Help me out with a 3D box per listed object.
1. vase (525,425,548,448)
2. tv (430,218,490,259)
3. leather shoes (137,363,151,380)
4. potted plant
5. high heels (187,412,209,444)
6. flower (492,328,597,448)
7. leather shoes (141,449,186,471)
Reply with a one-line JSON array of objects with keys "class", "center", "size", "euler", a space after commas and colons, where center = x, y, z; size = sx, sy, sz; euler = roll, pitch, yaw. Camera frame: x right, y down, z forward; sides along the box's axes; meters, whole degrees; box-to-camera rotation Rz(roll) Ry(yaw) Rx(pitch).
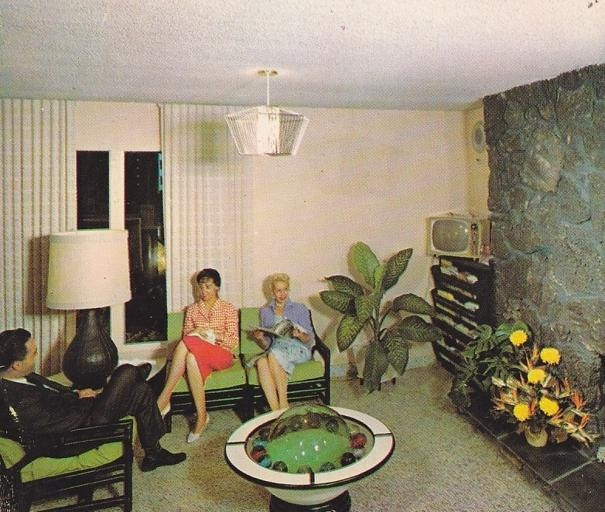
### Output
[{"class": "vase", "center": [1.531, 1.179, 3.566], "size": [0.143, 0.114, 0.102], "euler": [4, 13, 24]}, {"class": "tv", "center": [1.352, -0.169, 4.727], "size": [0.255, 0.360, 0.680], "euler": [-6, 12, -19]}, {"class": "leather shoes", "center": [-1.072, 0.769, 3.667], "size": [0.113, 0.070, 0.181], "euler": [1, -8, -16]}, {"class": "potted plant", "center": [0.641, 0.572, 4.795], "size": [1.017, 1.303, 0.863], "euler": [12, 20, 40]}, {"class": "high heels", "center": [-0.767, 1.268, 4.023], "size": [0.085, 0.069, 0.241], "euler": [4, 53, 33]}, {"class": "flower", "center": [1.603, 0.879, 3.701], "size": [0.265, 0.708, 0.525], "euler": [11, -38, -43]}, {"class": "leather shoes", "center": [-0.936, 1.361, 3.619], "size": [0.255, 0.166, 0.088], "euler": [-10, 17, -31]}]
